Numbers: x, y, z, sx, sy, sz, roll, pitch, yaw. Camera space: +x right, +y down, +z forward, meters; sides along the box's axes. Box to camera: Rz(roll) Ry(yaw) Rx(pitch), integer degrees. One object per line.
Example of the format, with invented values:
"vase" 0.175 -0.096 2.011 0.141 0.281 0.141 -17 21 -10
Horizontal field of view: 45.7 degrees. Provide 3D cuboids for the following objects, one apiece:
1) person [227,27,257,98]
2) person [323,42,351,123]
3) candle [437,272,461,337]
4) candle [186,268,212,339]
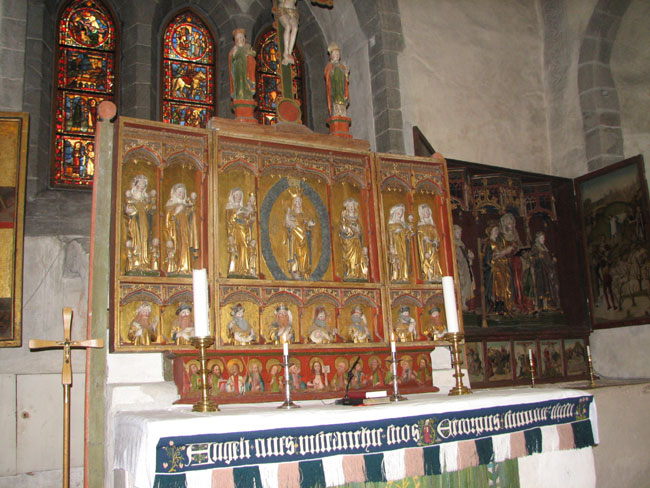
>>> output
"person" -0.936 -2.007 8.606 0.290 0.875 0.282 -2 -13 -5
"person" 0.128 -1.913 9.110 0.284 0.980 0.439 -3 -13 1
"candle" 1.176 0.579 7.309 0.110 0.594 0.292 -5 -13 8
"candle" -1.072 0.521 6.639 0.132 0.614 0.181 -1 -13 -10
